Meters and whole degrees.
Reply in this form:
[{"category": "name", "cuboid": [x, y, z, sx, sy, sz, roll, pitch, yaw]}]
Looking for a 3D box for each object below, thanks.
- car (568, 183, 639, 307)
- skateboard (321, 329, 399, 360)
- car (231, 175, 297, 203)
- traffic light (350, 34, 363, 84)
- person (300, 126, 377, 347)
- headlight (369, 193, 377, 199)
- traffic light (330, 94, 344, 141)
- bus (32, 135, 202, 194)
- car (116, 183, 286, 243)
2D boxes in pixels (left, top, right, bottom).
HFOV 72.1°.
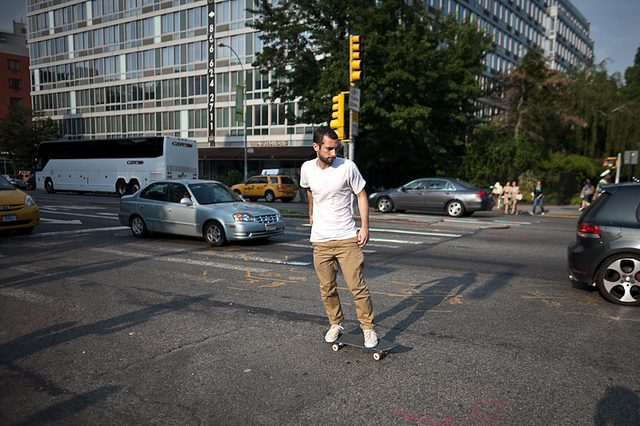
[{"category": "car", "cuboid": [4.982, 0.540, 7.568, 0.931, 1.885, 0.603, 6, 12, 30]}, {"category": "skateboard", "cuboid": [0.560, 1.727, 5.895, 1.267, 0.240, 0.317, 3, 13, 27]}, {"category": "car", "cuboid": [-3.736, -1.597, 29.930, 3.884, 1.846, 1.956, 7, 9, 29]}, {"category": "traffic light", "cuboid": [1.093, -4.738, 13.380, 0.343, 1.290, 0.405, 1, 10, 5]}, {"category": "person", "cuboid": [0.243, 0.345, 5.909, 1.102, 2.924, 0.361, 5, 11, 23]}, {"category": "headlight", "cuboid": [2.645, -0.845, 22.067, 0.337, 0.316, 0.575, 2, 11, 6]}, {"category": "traffic light", "cuboid": [0.591, -3.328, 15.381, 0.437, 1.568, 1.185, 0, 10, 1]}, {"category": "bus", "cuboid": [-16.727, -3.652, 34.603, 14.047, 4.530, 3.685, 3, 5, 22]}, {"category": "car", "cuboid": [-3.528, 0.027, 12.676, 4.126, 1.435, 1.957, 2, 3, 28]}]
